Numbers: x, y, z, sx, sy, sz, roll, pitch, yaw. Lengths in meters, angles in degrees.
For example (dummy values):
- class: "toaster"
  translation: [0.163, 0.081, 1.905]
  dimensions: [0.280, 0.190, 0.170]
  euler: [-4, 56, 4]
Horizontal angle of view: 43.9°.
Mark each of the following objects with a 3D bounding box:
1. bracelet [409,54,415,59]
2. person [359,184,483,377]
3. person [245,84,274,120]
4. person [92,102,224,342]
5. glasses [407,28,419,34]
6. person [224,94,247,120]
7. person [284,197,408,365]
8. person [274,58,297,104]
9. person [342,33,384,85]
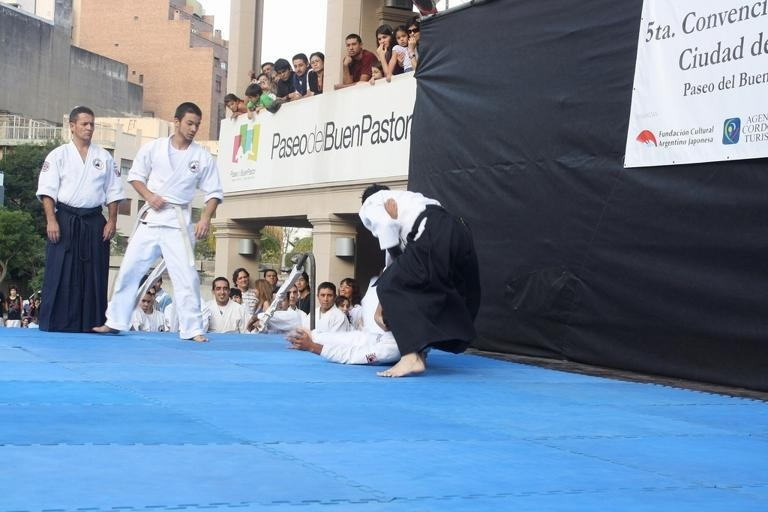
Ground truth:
- class: "bracelet"
  translation: [0.408, -2.891, 13.798]
  dimensions: [0.105, 0.112, 0.117]
  euler: [2, 7, -1]
- class: "person"
  translation: [0.354, 0.216, 8.517]
  dimensions: [1.116, 1.589, 0.918]
  euler: [1, 7, -5]
- class: "person"
  translation: [-2.199, -2.755, 16.942]
  dimensions: [0.378, 0.614, 0.975]
  euler: [-2, 8, -31]
- class: "person"
  translation: [-2.409, -0.380, 10.320]
  dimensions: [1.139, 2.494, 0.571]
  euler: [2, 7, 3]
- class: "glasses"
  translation: [0.416, -3.251, 13.807]
  dimensions: [0.124, 0.053, 0.119]
  euler: [0, 3, -30]
- class: "person"
  translation: [-2.798, -2.786, 17.726]
  dimensions: [0.397, 0.476, 1.291]
  euler: [1, 7, -10]
- class: "person"
  translation: [-0.309, 0.597, 8.872]
  dimensions: [1.249, 1.167, 0.788]
  euler: [5, -8, -21]
- class: "person"
  translation: [-1.754, -3.099, 16.953]
  dimensions: [0.487, 0.702, 0.438]
  euler: [-3, 11, 16]
- class: "person"
  translation: [-0.464, -3.036, 14.920]
  dimensions: [0.629, 0.819, 0.903]
  euler: [3, 18, 26]
